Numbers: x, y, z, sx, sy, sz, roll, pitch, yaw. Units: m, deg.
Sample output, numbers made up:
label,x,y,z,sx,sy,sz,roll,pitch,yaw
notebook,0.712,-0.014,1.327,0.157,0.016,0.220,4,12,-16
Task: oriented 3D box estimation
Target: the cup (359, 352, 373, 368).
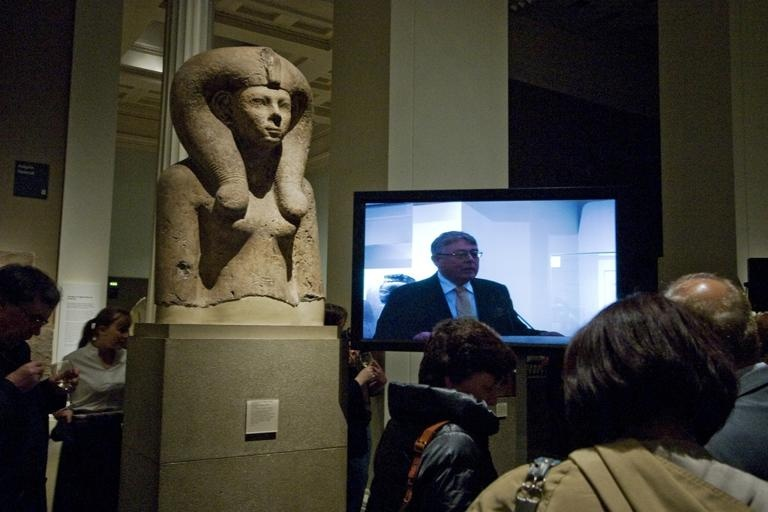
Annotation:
label,x,y,z,sx,sy,sz,roll,pitch,yaw
cup,-0.133,0.736,4.435,0.103,0.104,0.100,0,-18,0
